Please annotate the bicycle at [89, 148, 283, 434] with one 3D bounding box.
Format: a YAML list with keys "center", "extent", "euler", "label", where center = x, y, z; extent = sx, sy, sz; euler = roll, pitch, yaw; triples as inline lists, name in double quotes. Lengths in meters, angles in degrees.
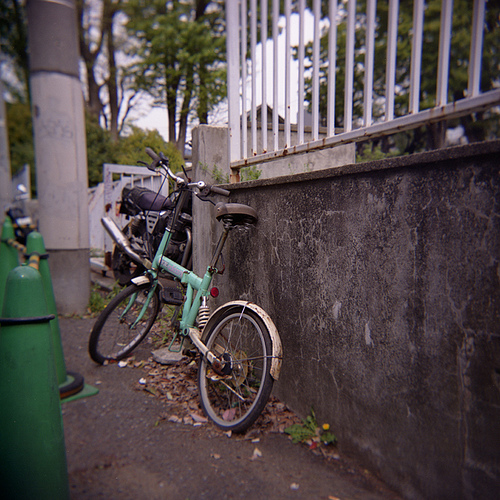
- center: [-0.519, 0.252, 3.964]
  extent: [1.815, 1.621, 0.746]
  euler: [15, -7, 34]
  label: "bicycle"

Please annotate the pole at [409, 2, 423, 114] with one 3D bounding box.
- center: [0.891, -1.016, 2.767]
  extent: [0.054, 0.558, 0.121]
  euler: [3, 12, 18]
  label: "pole"

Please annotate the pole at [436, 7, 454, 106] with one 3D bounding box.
- center: [1.003, -0.985, 2.665]
  extent: [0.058, 0.480, 0.137]
  euler: [3, 12, 21]
  label: "pole"

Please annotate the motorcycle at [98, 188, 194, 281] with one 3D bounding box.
- center: [-1.017, -0.147, 5.153]
  extent: [1.015, 0.797, 0.605]
  euler: [27, -1, 45]
  label: "motorcycle"
